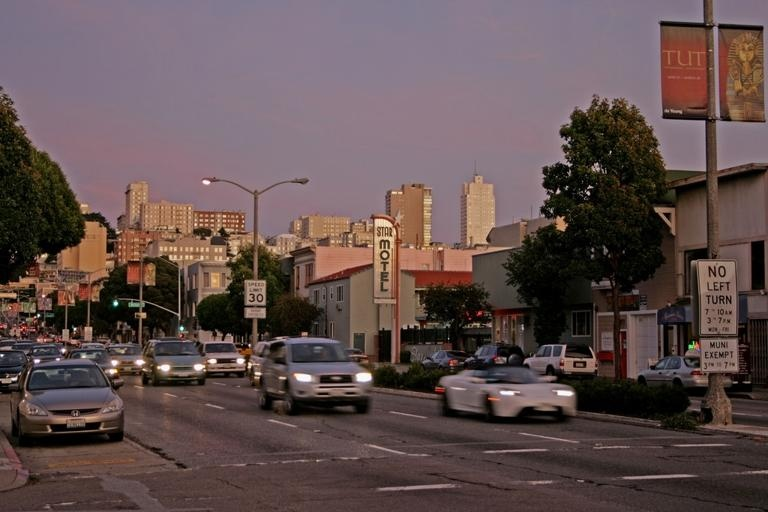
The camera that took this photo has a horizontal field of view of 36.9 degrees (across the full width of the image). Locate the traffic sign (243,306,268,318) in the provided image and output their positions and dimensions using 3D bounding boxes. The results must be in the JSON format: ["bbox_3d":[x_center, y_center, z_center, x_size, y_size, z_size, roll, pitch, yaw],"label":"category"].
[{"bbox_3d":[-7.017,2.964,61.243,1.197,0.649,0.564,5,-9,-36],"label":"traffic sign"}]

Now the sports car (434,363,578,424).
[{"bbox_3d":[4.003,4.510,37.908,2.436,1.620,5.784,1,-4,-15],"label":"sports car"}]

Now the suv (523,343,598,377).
[{"bbox_3d":[8.984,5.248,59.553,2.047,1.556,3.707,2,-1,-24],"label":"suv"}]

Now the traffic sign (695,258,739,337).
[{"bbox_3d":[10.722,1.334,37.138,1.393,2.441,0.273,1,-7,-9],"label":"traffic sign"}]

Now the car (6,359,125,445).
[{"bbox_3d":[-9.516,4.276,34.135,3.413,2.496,2.359,-4,-8,31],"label":"car"}]

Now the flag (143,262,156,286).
[{"bbox_3d":[-19.461,1.332,95.185,0.927,1.847,2.193,2,-7,-17],"label":"flag"}]

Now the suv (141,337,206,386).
[{"bbox_3d":[-10.049,5.020,55.204,2.812,2.194,2.627,2,-7,-13],"label":"suv"}]

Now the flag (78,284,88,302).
[{"bbox_3d":[-29.397,3.338,112.810,0.808,1.439,2.316,2,-7,-18],"label":"flag"}]
